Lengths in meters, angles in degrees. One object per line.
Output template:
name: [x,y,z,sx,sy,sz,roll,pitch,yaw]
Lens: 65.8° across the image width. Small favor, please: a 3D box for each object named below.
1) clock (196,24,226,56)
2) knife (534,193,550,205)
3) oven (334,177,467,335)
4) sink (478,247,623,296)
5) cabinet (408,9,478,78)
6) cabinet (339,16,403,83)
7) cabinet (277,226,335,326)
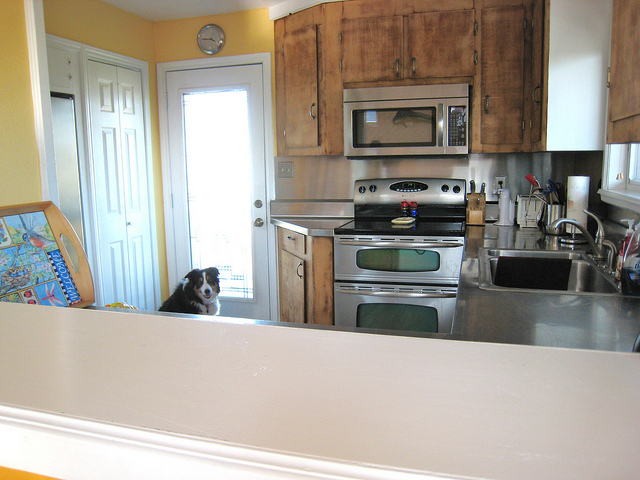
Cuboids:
clock: [-0.789,-1.474,3.619,0.212,0.228,0.017,5,12,16]
knife: [1.260,-0.228,2.806,0.032,0.039,0.287,-1,7,13]
oven: [0.511,0.195,3.080,0.705,1.147,0.661,1,10,5]
sink: [0.858,0.144,1.944,0.441,0.159,0.744,0,7,18]
cabinet: [0.750,-1.118,3.114,0.487,0.481,0.338,3,13,18]
cabinet: [0.326,-1.137,3.192,0.477,0.477,0.332,1,14,5]
cabinet: [-0.086,0.273,3.232,0.365,0.644,0.393,0,2,22]
